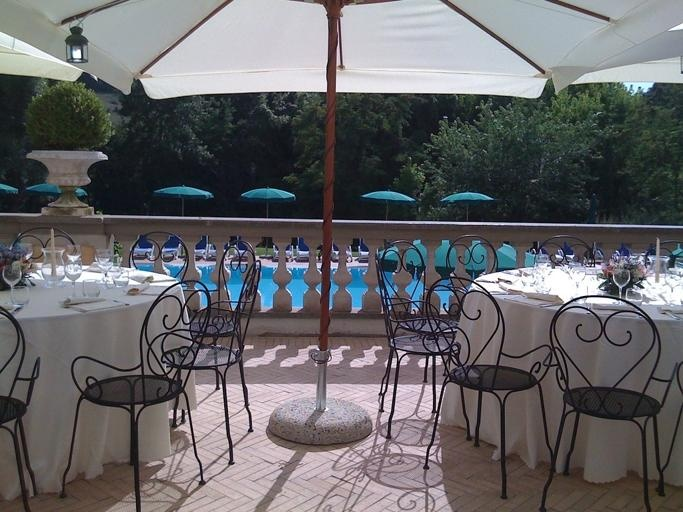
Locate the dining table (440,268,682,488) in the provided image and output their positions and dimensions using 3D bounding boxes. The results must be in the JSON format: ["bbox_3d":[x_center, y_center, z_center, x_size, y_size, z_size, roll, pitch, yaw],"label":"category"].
[{"bbox_3d":[1.881,0.898,5.012,1.378,0.909,1.528,1,1,-20],"label":"dining table"}]

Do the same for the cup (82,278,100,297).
[{"bbox_3d":[-1.895,0.246,5.104,0.143,0.170,0.151,2,7,0],"label":"cup"}]

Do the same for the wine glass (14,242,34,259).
[{"bbox_3d":[-2.474,-0.052,5.252,0.130,0.121,0.122,-2,6,-23],"label":"wine glass"}]

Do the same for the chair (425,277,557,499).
[{"bbox_3d":[1.109,0.916,5.012,0.853,1.600,0.921,-2,8,-1],"label":"chair"}]

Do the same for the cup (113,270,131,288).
[{"bbox_3d":[-1.706,0.184,5.259,0.112,0.124,0.090,-2,-1,22],"label":"cup"}]

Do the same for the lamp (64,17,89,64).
[{"bbox_3d":[-2.004,-1.585,5.068,0.128,0.265,0.149,5,20,-11],"label":"lamp"}]

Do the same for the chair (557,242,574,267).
[{"bbox_3d":[2.144,-0.021,6.511,0.141,0.191,0.241,5,-24,13],"label":"chair"}]

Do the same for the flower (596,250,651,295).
[{"bbox_3d":[2.130,0.115,5.117,0.296,0.247,0.279,-4,5,18],"label":"flower"}]

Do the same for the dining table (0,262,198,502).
[{"bbox_3d":[-1.834,0.892,5.035,1.096,0.913,1.262,2,1,0],"label":"dining table"}]
